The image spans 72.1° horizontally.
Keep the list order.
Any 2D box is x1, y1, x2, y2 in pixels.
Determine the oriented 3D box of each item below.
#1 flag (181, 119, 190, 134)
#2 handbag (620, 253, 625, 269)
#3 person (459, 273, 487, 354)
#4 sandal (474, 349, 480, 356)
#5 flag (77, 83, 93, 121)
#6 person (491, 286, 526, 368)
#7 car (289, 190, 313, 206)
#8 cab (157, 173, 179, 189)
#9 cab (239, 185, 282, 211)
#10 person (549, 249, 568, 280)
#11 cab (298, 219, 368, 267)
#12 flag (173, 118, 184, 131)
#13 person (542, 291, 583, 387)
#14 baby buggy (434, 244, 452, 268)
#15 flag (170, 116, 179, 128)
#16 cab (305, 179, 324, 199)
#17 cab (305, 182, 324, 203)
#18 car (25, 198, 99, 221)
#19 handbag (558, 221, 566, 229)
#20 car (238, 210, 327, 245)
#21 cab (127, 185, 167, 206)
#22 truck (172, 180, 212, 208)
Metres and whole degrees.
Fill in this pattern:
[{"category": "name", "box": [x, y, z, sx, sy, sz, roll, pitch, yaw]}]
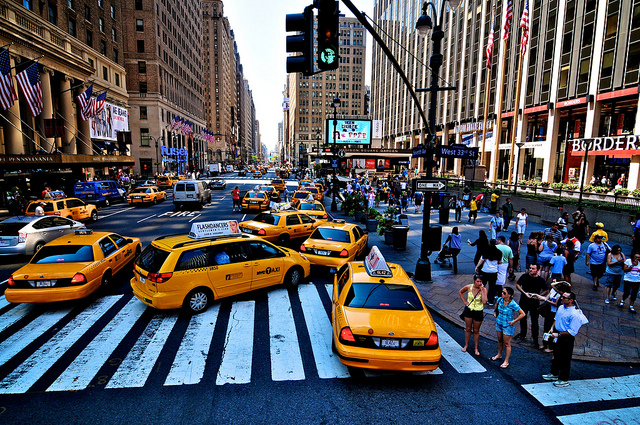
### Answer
[{"category": "flag", "box": [-23.810, -15.539, 79.083, 0.809, 2.130, 1.592, 18, -14, -21]}, {"category": "handbag", "box": [12.428, 2.062, 18.142, 0.180, 0.558, 0.498, 5, 9, 34]}, {"category": "person", "box": [5.490, 3.708, 15.888, 0.806, 2.822, 0.584, 2, 7, 16]}, {"category": "sandal", "box": [5.636, 5.101, 15.857, 0.158, 0.101, 0.154, 1, 8, 4]}, {"category": "flag", "box": [-22.403, -10.664, 42.091, 1.192, 3.227, 1.264, -4, 8, -31]}, {"category": "person", "box": [6.582, 4.023, 15.568, 0.937, 2.837, 0.689, -7, 10, -44]}, {"category": "car", "box": [-1.385, -1.112, 33.381, 1.155, 0.988, 2.646, -1, 10, -4]}, {"category": "cab", "box": [-19.256, -3.667, 55.069, 1.096, 1.625, 3.198, 1, 8, 9]}, {"category": "cab", "box": [-4.994, -0.944, 35.927, 1.737, 1.526, 4.077, 1, 14, 1]}, {"category": "person", "box": [10.033, 2.238, 18.688, 0.891, 1.366, 0.533, -7, 10, -43]}, {"category": "cab", "box": [1.004, 1.365, 22.715, 2.600, 2.099, 6.279, 6, 11, 17]}, {"category": "flag", "box": [-24.573, -15.528, 76.336, 0.648, 3.447, 0.896, 23, 3, -12]}, {"category": "person", "box": [8.191, 4.342, 14.913, 0.950, 3.134, 0.633, -2, 7, -18]}, {"category": "baby buggy", "box": [6.058, 2.152, 21.658, 0.759, 1.309, 1.038, 0, 18, 1]}, {"category": "flag", "box": [-24.721, -15.581, 74.732, 1.599, 0.992, 2.194, -12, 26, -29]}, {"category": "cab", "box": [-0.344, -2.450, 45.887, 1.879, 1.729, 3.406, 2, 20, 6]}, {"category": "cab", "box": [-0.526, -1.689, 37.550, 1.431, 1.343, 3.069, 1, 18, -1]}, {"category": "car", "box": [-16.592, -0.269, 28.619, 1.994, 1.578, 3.862, 5, 13, 16]}, {"category": "handbag", "box": [11.512, 0.641, 21.023, 0.207, 0.326, 0.313, 14, -3, 25]}, {"category": "car", "box": [-2.283, 0.703, 24.275, 2.012, 1.374, 4.370, 11, 15, 41]}, {"category": "cab", "box": [-15.497, -1.504, 39.376, 1.690, 1.652, 3.266, 2, 8, 17]}, {"category": "truck", "box": [-10.767, -1.837, 37.913, 1.807, 1.528, 3.537, 0, 15, 5]}]
